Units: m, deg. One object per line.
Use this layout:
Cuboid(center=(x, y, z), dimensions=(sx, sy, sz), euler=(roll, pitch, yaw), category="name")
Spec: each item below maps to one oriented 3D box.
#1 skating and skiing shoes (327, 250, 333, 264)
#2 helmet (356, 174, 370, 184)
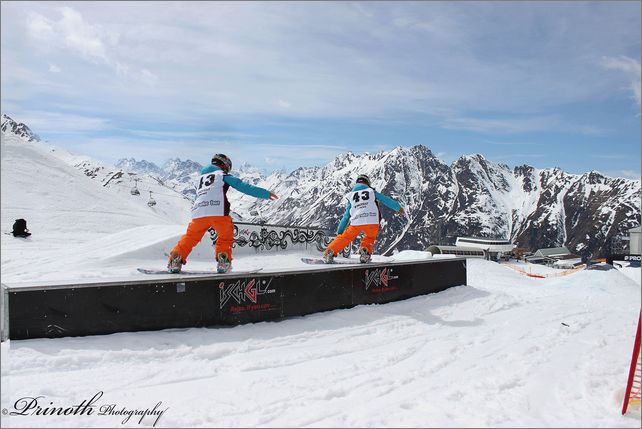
Cuboid(center=(0.244, 1.277, 13.256), dimensions=(0.232, 0.422, 0.137), euler=(-3, 13, -29), category="skating and skiing shoes")
Cuboid(center=(1.314, -1.097, 13.881), dimensions=(0.307, 0.324, 0.375), euler=(4, 5, 8), category="helmet")
